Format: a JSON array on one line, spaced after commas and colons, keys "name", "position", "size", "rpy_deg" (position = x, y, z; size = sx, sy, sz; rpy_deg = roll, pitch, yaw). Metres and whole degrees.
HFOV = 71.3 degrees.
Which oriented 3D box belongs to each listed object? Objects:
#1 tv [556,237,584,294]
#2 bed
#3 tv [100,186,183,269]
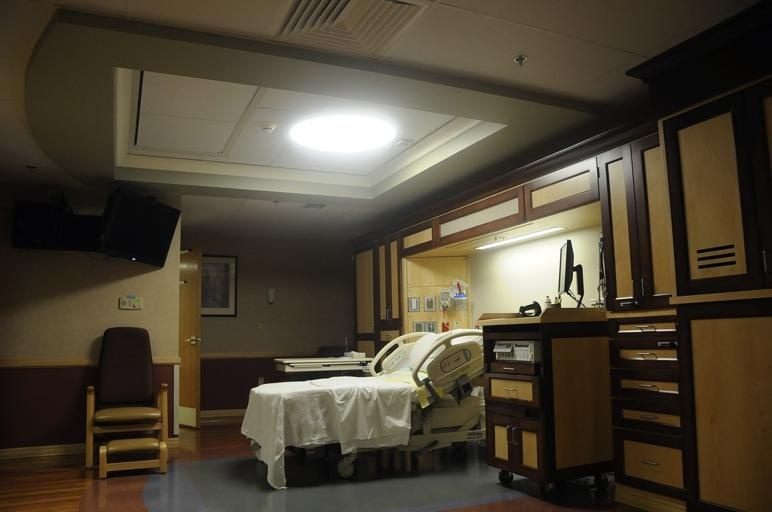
[{"name": "tv", "position": [1.948, 0.101, 5.685], "size": [0.198, 0.491, 0.571], "rpy_deg": [1, -5, 5]}, {"name": "bed", "position": [-0.260, 1.541, 5.754], "size": [2.145, 1.355, 1.452], "rpy_deg": [4, -9, -19]}, {"name": "tv", "position": [-2.974, -0.347, 6.424], "size": [0.873, 0.897, 0.304], "rpy_deg": [6, 14, -45]}]
